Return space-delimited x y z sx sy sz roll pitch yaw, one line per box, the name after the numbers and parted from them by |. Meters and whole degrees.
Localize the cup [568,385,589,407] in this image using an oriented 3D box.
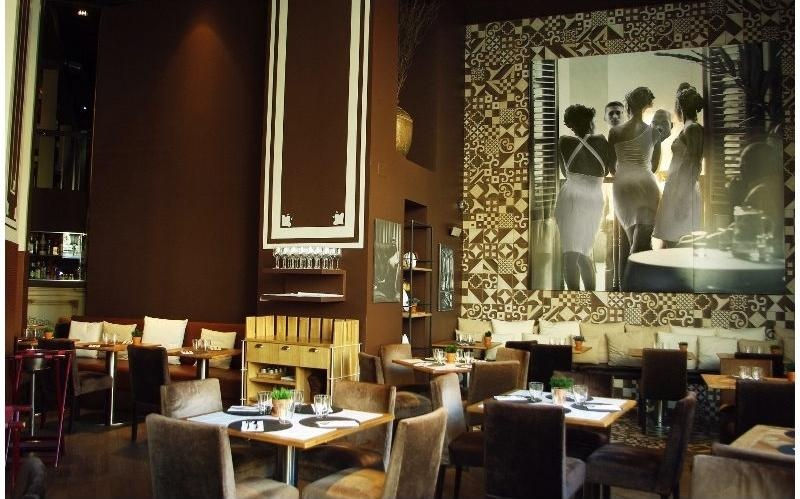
1.872 1.535 6.599 0.183 0.213 0.186 0 -2 0 | cup

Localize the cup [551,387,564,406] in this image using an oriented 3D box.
1.588 1.478 6.354 0.170 0.169 0.113 -2 -5 24 | cup

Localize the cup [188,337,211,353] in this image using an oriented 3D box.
-2.799 1.340 8.889 0.225 0.164 0.228 2 0 0 | cup

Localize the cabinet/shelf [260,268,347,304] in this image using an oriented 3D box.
-1.461 0.499 8.848 1.316 0.475 0.559 -2 -5 31 | cabinet/shelf

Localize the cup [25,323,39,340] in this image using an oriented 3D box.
-5.494 1.211 9.317 0.247 0.283 0.247 -1 -8 0 | cup

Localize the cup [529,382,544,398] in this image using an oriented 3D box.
1.488 1.500 6.758 0.163 0.183 0.163 0 -3 0 | cup

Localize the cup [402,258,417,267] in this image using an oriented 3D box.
0.157 0.214 9.966 0.162 0.123 0.160 0 -7 0 | cup
